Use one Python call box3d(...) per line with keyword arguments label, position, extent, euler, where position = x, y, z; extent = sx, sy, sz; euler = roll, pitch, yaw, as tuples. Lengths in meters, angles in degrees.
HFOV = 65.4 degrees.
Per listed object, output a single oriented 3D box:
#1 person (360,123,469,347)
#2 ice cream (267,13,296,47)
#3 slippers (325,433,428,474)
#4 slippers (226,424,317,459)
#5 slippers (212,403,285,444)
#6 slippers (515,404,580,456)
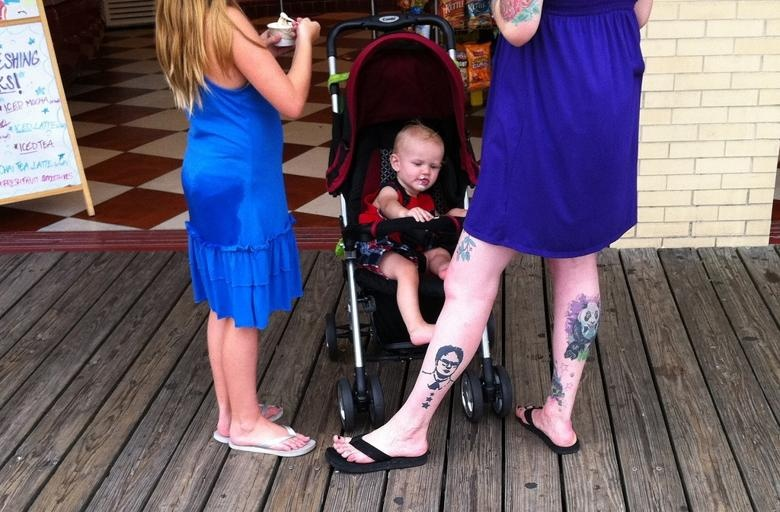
box3d(label="person", position=(0.163, -0.141, 2.636), extent=(0.548, 0.886, 0.811), euler=(-2, 7, -10))
box3d(label="ice cream", position=(-0.386, -0.829, 2.218), extent=(0.104, 0.104, 0.114), euler=(0, 20, -1))
box3d(label="slippers", position=(-0.051, 0.795, 2.397), extent=(0.308, 0.098, 0.165), euler=(2, 12, 0))
box3d(label="slippers", position=(-0.469, 0.763, 2.442), extent=(0.260, 0.075, 0.141), euler=(3, 16, 7))
box3d(label="slippers", position=(-0.586, 0.691, 2.558), extent=(0.114, 0.104, 0.318), euler=(22, 24, 26))
box3d(label="slippers", position=(0.622, 0.722, 2.442), extent=(0.111, 0.077, 0.276), euler=(-28, 51, -26))
